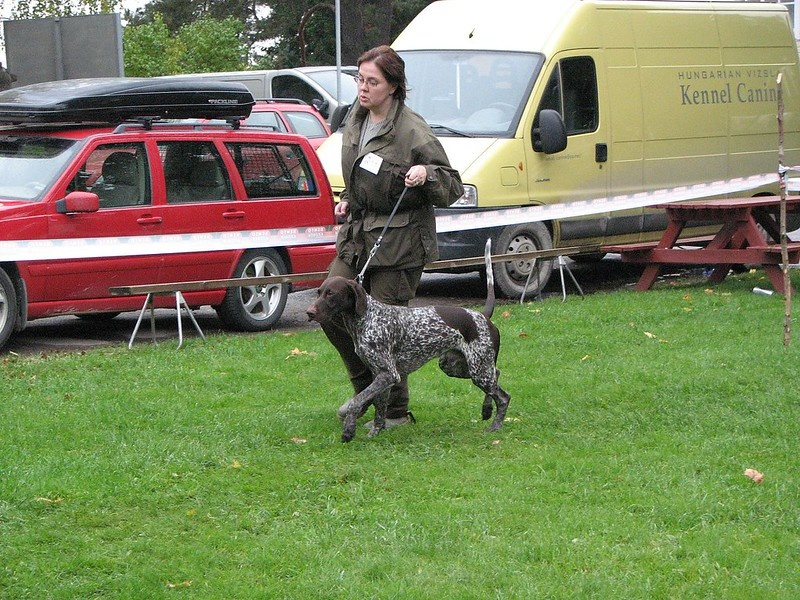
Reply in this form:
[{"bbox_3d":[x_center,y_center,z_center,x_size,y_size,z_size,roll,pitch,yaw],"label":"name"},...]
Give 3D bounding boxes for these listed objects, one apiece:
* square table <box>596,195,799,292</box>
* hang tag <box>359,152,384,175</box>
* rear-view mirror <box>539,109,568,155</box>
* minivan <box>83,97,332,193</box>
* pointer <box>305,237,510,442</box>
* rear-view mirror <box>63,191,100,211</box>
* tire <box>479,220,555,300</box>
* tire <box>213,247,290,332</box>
[{"bbox_3d":[3.735,-0.743,12.169,1.528,0.765,1.661,0,0,36],"label":"square table"},{"bbox_3d":[-0.193,-0.961,7.072,0.156,0.141,0.037,17,3,27],"label":"hang tag"},{"bbox_3d":[1.817,-2.010,12.011,0.368,0.543,0.330,-6,9,-20],"label":"rear-view mirror"},{"bbox_3d":[-2.677,-2.867,17.681,2.934,1.310,1.574,1,5,-9],"label":"minivan"},{"bbox_3d":[0.069,0.427,7.253,1.639,1.113,0.415,2,2,-26],"label":"pointer"},{"bbox_3d":[-2.951,-0.908,9.387,0.271,0.189,0.196,-4,8,-28],"label":"rear-view mirror"},{"bbox_3d":[1.375,-0.486,11.840,0.295,0.807,0.840,0,17,45],"label":"tire"},{"bbox_3d":[-1.600,-0.115,10.864,0.310,0.940,0.980,2,5,30],"label":"tire"}]
